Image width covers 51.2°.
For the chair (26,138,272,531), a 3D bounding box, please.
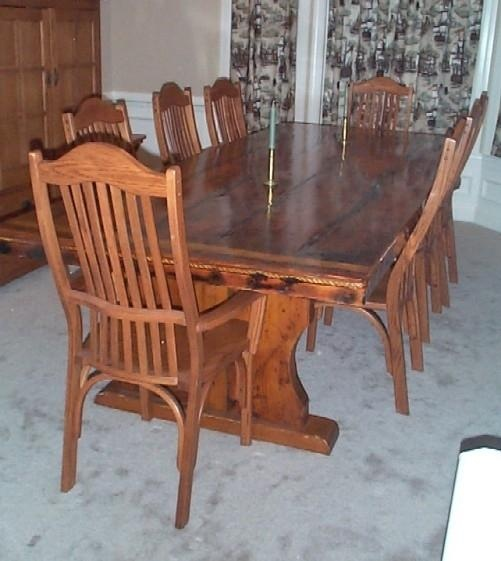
[{"bbox_3d":[-0.289,0.095,1.539,0.623,1.024,0.570,10,23,22],"label":"chair"}]
